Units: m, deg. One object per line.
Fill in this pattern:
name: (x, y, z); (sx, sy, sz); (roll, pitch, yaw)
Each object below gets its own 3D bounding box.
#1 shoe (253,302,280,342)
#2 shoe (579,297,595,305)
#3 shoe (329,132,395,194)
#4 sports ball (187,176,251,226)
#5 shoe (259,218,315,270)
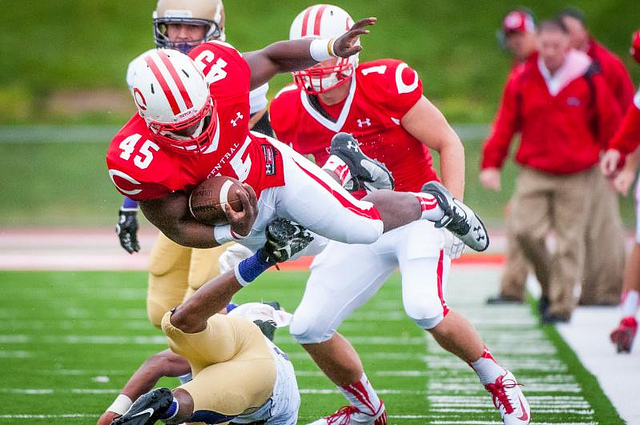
shoe: (-0.341, 0.682, 5.829); (0.169, 0.193, 0.217); (-23, 49, 24)
shoe: (2.218, 0.734, 7.545); (0.127, 0.070, 0.019); (2, 17, 4)
shoe: (0.257, -0.317, 5.741); (0.389, 0.139, 0.190); (37, 42, -19)
sports ball: (-0.569, -0.066, 5.215); (0.325, 0.205, 0.232); (-4, 2, 8)
shoe: (-0.191, 0.166, 5.335); (0.364, 0.281, 0.163); (-10, 20, -28)
